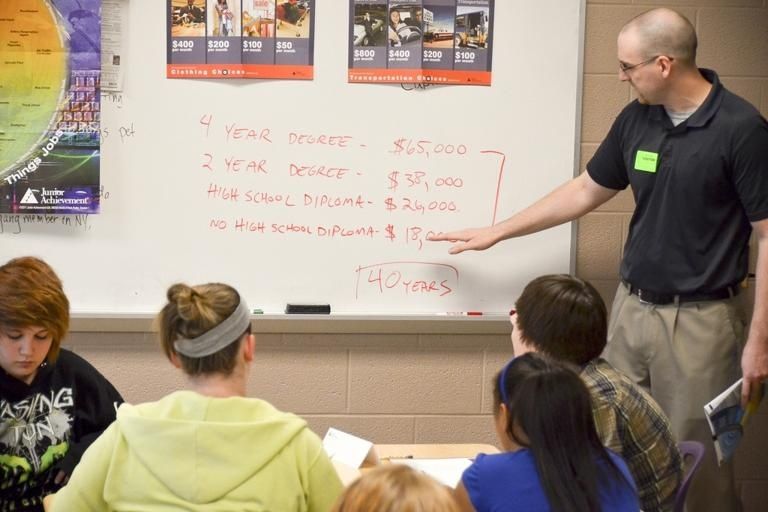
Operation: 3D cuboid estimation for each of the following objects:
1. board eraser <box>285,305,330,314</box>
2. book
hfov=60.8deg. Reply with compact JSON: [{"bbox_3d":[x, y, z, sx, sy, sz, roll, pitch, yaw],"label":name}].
[{"bbox_3d":[-0.332,0.244,2.937,0.154,0.048,0.039,1,-4,-5],"label":"board eraser"},{"bbox_3d":[1.249,0.613,2.395,0.212,0.287,0.072,-12,21,-38],"label":"book"}]
